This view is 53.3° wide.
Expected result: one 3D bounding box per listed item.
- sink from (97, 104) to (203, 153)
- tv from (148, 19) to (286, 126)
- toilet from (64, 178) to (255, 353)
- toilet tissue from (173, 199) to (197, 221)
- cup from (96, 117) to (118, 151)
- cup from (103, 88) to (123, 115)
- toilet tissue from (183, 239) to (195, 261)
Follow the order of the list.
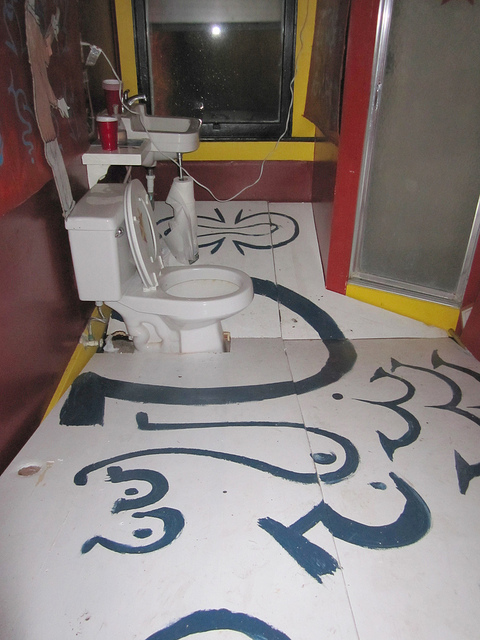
[{"bbox_3d":[-0.515,-1.104,2.829,0.498,0.306,0.407,0,50,-6],"label":"sink"},{"bbox_3d":[-0.181,-1.803,3.423,0.993,1.092,0.048,0,41,1],"label":"tv"},{"bbox_3d":[-0.281,-0.485,2.443,0.880,1.082,0.640,0,43,-6],"label":"toilet"},{"bbox_3d":[-0.324,-0.669,2.893,0.107,0.130,0.122,-25,46,-29],"label":"toilet tissue"},{"bbox_3d":[-0.606,-0.860,2.213,0.086,0.148,0.081,-1,26,0],"label":"cup"},{"bbox_3d":[-0.644,-1.109,2.437,0.073,0.120,0.167,-7,28,-12],"label":"cup"},{"bbox_3d":[-0.319,-0.444,2.971,0.063,0.117,0.064,13,43,11],"label":"toilet tissue"}]
